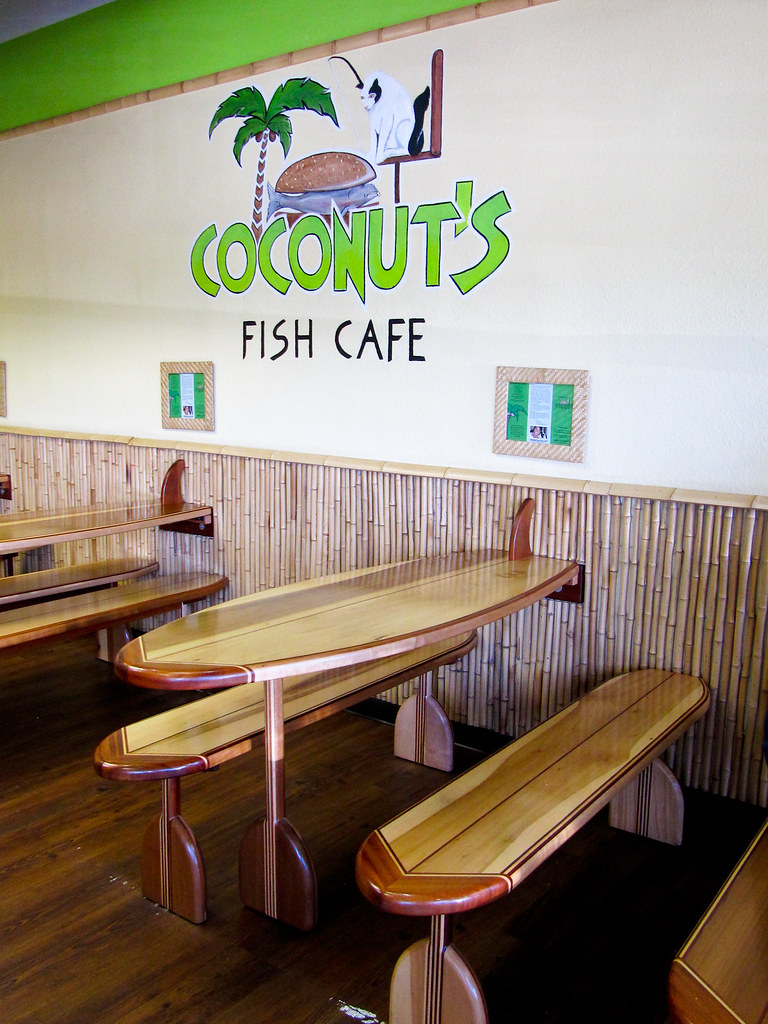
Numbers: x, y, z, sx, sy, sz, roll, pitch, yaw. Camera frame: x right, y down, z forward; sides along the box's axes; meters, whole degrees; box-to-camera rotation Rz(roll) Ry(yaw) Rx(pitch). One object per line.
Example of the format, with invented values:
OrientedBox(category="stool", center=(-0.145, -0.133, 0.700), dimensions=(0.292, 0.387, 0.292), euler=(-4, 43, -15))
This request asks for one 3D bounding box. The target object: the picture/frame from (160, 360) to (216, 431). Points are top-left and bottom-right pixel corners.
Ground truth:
OrientedBox(category="picture/frame", center=(-0.908, -0.554, 3.888), dimensions=(0.316, 0.317, 0.022), euler=(10, 15, 39))

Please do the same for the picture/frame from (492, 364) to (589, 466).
OrientedBox(category="picture/frame", center=(0.546, -0.341, 2.832), dimensions=(0.325, 0.305, 0.040), euler=(11, 16, 41))
